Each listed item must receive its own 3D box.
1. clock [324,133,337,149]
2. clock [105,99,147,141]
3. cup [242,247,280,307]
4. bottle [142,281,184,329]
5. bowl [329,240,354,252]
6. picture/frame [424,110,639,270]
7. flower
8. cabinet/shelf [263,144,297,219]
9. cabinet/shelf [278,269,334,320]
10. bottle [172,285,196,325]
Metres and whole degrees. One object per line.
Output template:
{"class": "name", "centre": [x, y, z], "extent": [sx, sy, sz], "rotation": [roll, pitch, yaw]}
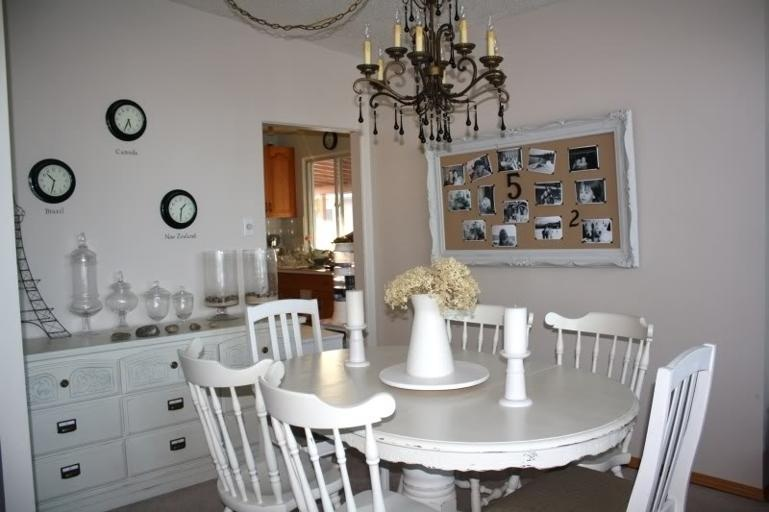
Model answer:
{"class": "clock", "centre": [-0.760, -1.577, 7.234], "extent": [0.217, 0.230, 0.051], "rotation": [24, 22, 39]}
{"class": "clock", "centre": [-1.976, -1.039, 4.007], "extent": [0.281, 0.290, 0.064], "rotation": [-3, 5, -42]}
{"class": "cup", "centre": [-1.047, 0.169, 4.363], "extent": [0.277, 0.451, 0.245], "rotation": [-5, 14, -17]}
{"class": "bottle", "centre": [-1.722, 0.368, 3.975], "extent": [0.295, 0.427, 0.284], "rotation": [2, 5, 0]}
{"class": "bowl", "centre": [-0.573, -0.129, 6.990], "extent": [0.204, 0.093, 0.163], "rotation": [-2, -3, 30]}
{"class": "picture/frame", "centre": [1.248, -0.544, 4.226], "extent": [1.383, 0.957, 0.127], "rotation": [-1, 5, 35]}
{"class": "flower", "centre": [0.266, 0.140, 2.901], "extent": [0.435, 0.268, 0.342], "rotation": [-2, 1, 31]}
{"class": "cabinet/shelf", "centre": [-1.501, -1.073, 7.570], "extent": [0.217, 1.005, 0.641], "rotation": [11, 18, 43]}
{"class": "cabinet/shelf", "centre": [-0.816, 0.410, 5.674], "extent": [0.586, 0.581, 0.347], "rotation": [0, -1, 36]}
{"class": "bottle", "centre": [-1.578, 0.389, 4.086], "extent": [0.235, 0.393, 0.235], "rotation": [1, 6, 0]}
